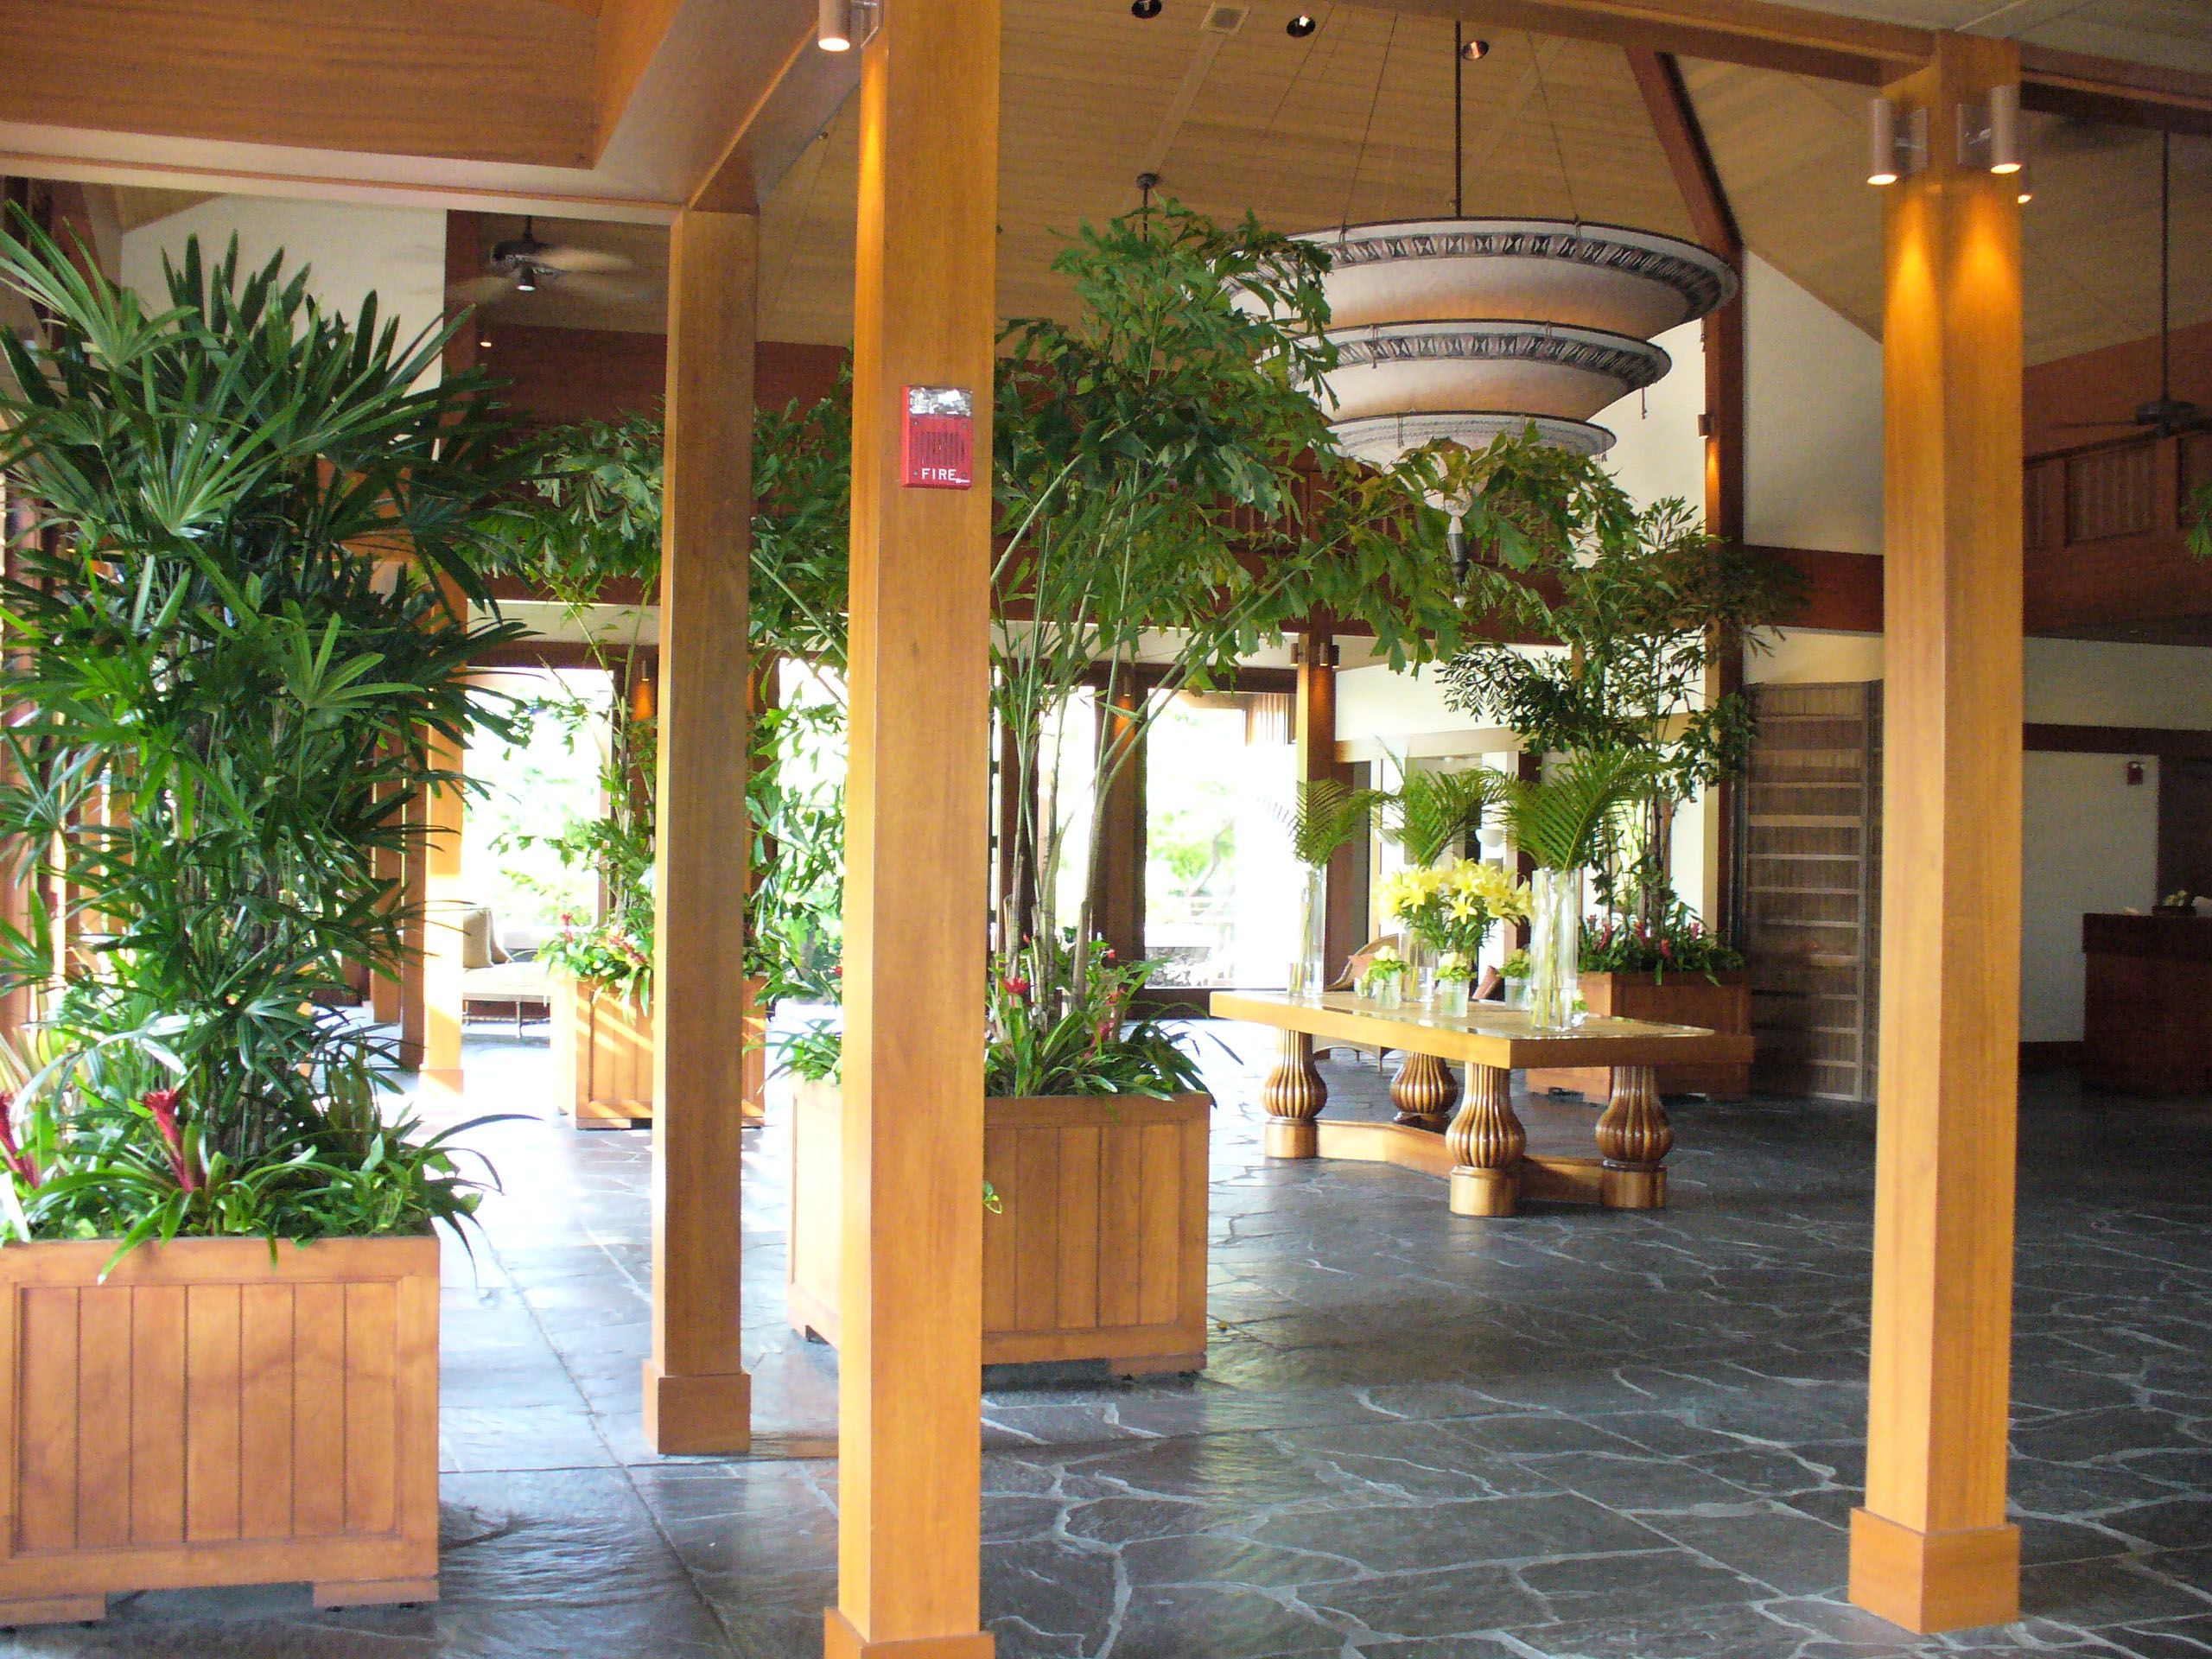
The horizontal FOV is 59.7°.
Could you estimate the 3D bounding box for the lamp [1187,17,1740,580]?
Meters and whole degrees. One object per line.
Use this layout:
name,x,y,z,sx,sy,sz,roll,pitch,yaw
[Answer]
lamp,1.563,-2.262,8.382,1.664,1.577,1.590,5,-10,-20
